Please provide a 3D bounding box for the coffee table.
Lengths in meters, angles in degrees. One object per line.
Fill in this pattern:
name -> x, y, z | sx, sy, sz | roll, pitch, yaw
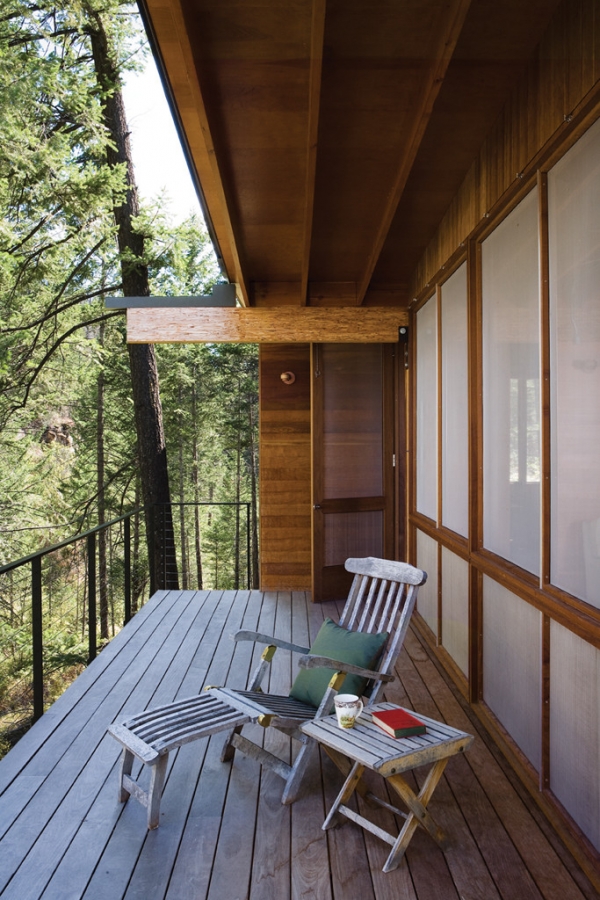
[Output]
coffee table -> 0.261, 1.082, 1.971 | 0.418, 0.357, 0.405 | 5, -6, -40

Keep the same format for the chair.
chair -> -0.102, 0.917, 2.377 | 1.157, 0.894, 0.520 | 6, -4, -32

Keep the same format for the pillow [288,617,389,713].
pillow -> 0.145, 0.900, 2.523 | 0.208, 0.353, 0.363 | 24, -20, -40

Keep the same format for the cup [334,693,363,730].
cup -> 0.164, 0.880, 2.067 | 0.090, 0.074, 0.070 | 1, -13, -7
